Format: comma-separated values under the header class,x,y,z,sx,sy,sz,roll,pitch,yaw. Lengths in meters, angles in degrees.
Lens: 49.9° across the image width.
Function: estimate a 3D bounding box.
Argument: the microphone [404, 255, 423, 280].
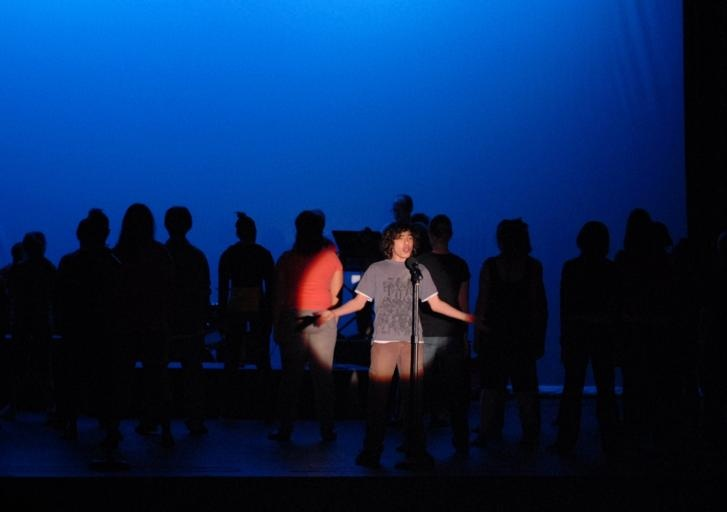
class,x,y,z,sx,sy,sz,roll,pitch,yaw
microphone,0.471,0.133,7.374,0.157,0.247,0.238,0,-11,3
